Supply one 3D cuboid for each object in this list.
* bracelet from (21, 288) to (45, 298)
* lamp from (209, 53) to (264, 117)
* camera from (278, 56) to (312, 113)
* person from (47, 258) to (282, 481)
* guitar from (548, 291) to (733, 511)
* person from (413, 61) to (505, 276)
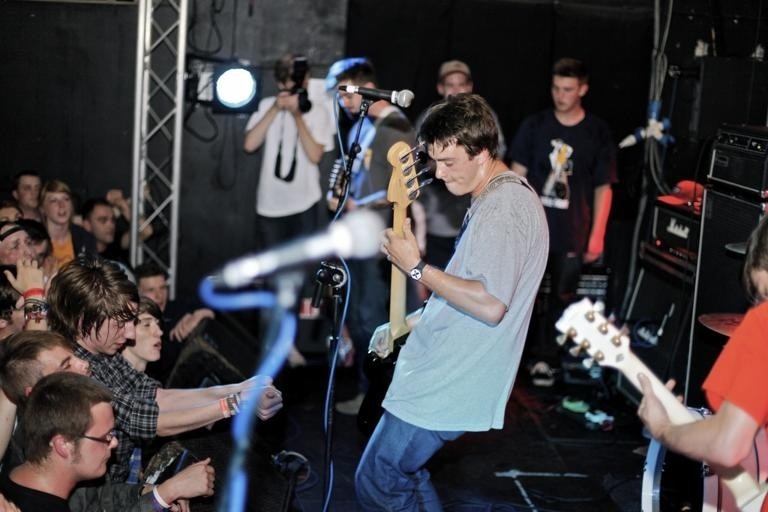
[{"bbox_3d":[-1.968,0.206,3.752,0.067,0.050,0.070,-6,-1,13],"label":"bracelet"},{"bbox_3d":[-1.213,-1.381,5.508,0.393,0.400,0.146,3,11,-6],"label":"lamp"},{"bbox_3d":[-0.714,-1.409,5.558,0.157,0.458,0.129,0,2,31],"label":"camera"},{"bbox_3d":[-1.230,0.730,3.445,1.056,1.116,0.386,16,12,-15],"label":"person"},{"bbox_3d":[1.126,0.618,2.905,1.140,0.459,0.162,48,-11,-5],"label":"guitar"},{"bbox_3d":[0.717,-0.783,5.884,0.393,1.680,0.857,-4,5,-23],"label":"person"}]
